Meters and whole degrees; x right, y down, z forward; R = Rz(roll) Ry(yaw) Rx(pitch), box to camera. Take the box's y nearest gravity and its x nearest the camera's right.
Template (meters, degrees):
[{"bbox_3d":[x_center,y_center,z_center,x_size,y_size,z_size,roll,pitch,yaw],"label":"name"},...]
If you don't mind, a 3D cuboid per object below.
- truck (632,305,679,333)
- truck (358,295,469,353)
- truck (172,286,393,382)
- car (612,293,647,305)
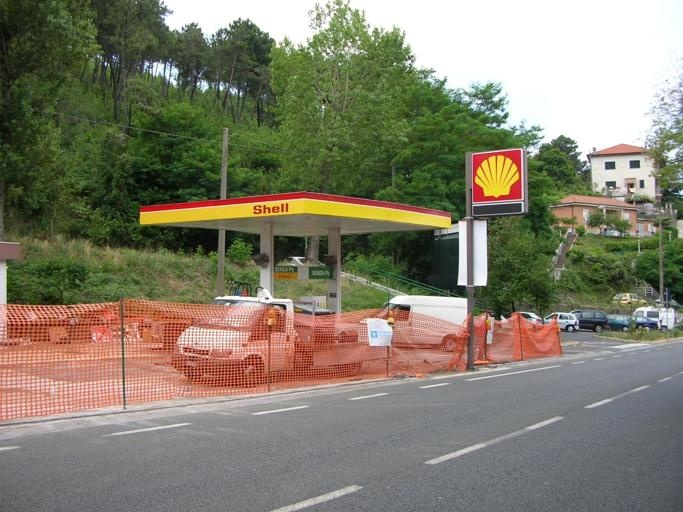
[{"bbox_3d":[22.802,4.594,49.033,2.945,1.879,2.010,2,-2,11],"label":"truck"},{"bbox_3d":[2.863,2.163,22.929,2.851,1.802,1.692,7,-11,-33],"label":"truck"},{"bbox_3d":[-1.923,2.120,17.475,1.846,1.903,4.325,-6,-11,39],"label":"truck"},{"bbox_3d":[27.662,4.085,64.924,2.239,1.049,1.513,-5,4,-24],"label":"car"}]
